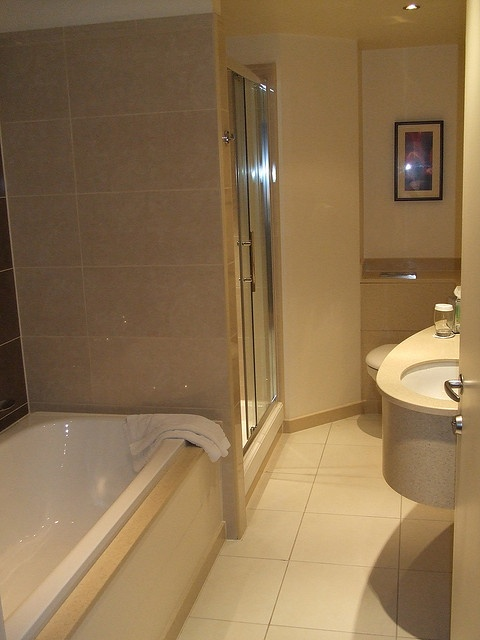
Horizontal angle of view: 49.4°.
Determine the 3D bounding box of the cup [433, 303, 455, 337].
[{"bbox_3d":[0.965,-0.005,2.445,0.085,0.149,0.142,2,15,21],"label":"cup"}]
